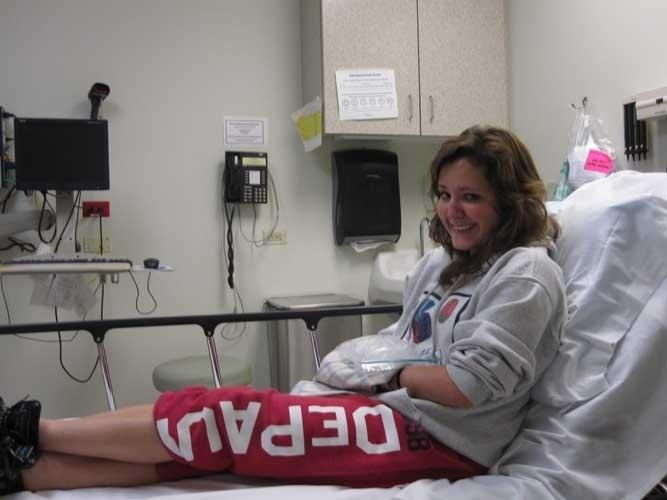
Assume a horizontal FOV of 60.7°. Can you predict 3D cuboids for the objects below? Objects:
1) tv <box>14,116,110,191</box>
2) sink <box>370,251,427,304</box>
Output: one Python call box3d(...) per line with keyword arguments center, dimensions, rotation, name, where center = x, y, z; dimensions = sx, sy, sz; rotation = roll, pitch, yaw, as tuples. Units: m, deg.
box3d(center=(-1.373, -0.480, 2.847), dimensions=(0.340, 0.296, 0.037), rotation=(0, 3, -8), name="tv")
box3d(center=(0.395, 0.154, 3.478), dimensions=(0.296, 0.275, 0.303), rotation=(0, -1, -21), name="sink")
